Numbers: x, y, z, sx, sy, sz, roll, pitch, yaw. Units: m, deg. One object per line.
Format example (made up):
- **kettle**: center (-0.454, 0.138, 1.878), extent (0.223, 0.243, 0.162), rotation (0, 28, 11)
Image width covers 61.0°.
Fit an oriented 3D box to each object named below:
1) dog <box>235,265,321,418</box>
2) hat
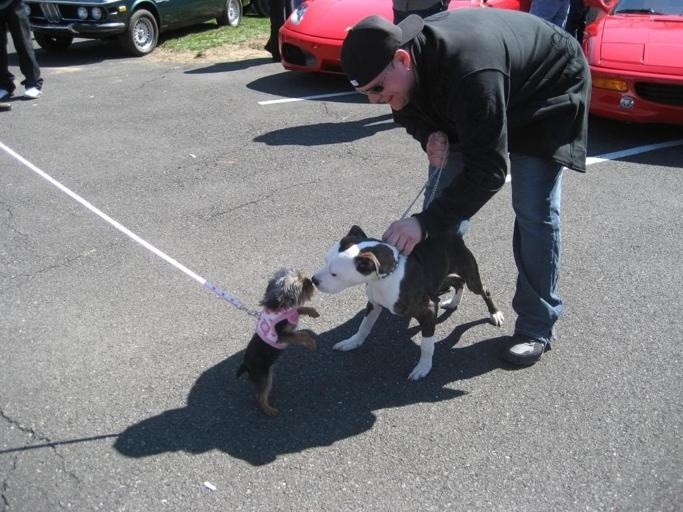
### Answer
- **dog**: center (-0.433, 0.612, 4.021), extent (0.606, 0.945, 0.380), rotation (-4, 13, -28)
- **hat**: center (0.249, -1.279, 3.614), extent (0.533, 0.376, 0.314), rotation (-20, 38, -24)
